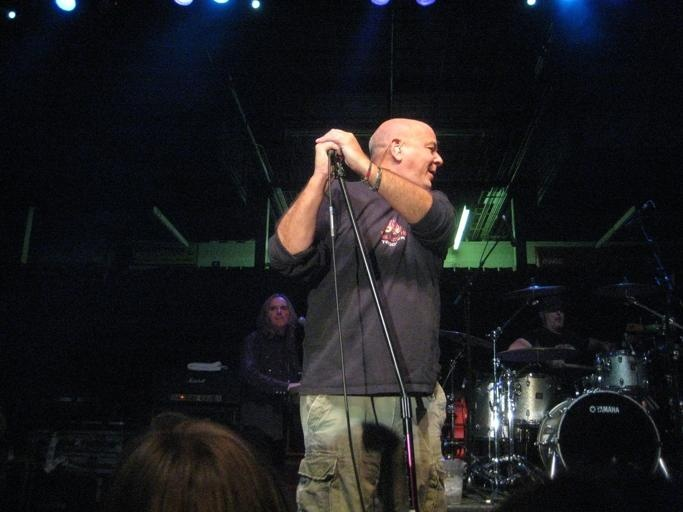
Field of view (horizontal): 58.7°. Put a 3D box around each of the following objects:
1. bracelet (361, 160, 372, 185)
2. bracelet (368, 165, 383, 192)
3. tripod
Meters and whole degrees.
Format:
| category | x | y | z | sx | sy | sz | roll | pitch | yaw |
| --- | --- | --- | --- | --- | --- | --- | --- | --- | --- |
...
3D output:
| category | x | y | z | sx | sy | sz | roll | pitch | yaw |
| --- | --- | --- | --- | --- | --- | --- | --- | --- | --- |
| bracelet | 0.161 | -0.490 | 3.589 | 0.041 | 0.124 | 0.089 | 5 | 6 | 34 |
| bracelet | 0.211 | -0.449 | 3.587 | 0.040 | 0.120 | 0.101 | 12 | 20 | 28 |
| tripod | 1.801 | 1.840 | 6.986 | 1.103 | 1.581 | 1.307 | 3 | -5 | -25 |
